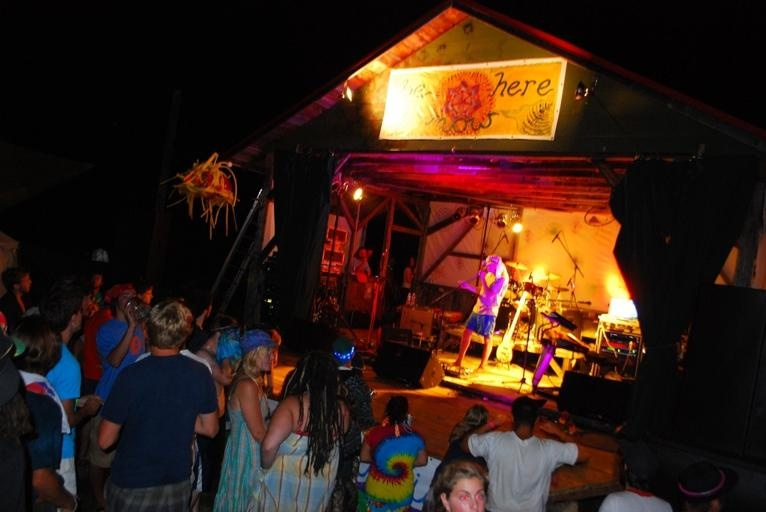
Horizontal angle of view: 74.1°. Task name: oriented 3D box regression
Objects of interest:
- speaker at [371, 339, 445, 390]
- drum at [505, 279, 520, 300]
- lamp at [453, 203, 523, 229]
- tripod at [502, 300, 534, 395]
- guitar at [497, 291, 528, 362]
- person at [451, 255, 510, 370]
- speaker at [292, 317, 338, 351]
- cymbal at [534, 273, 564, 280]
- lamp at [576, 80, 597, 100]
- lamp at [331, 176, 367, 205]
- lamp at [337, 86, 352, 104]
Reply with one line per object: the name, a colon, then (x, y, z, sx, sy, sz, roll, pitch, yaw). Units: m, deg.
speaker: (0.404, 1.891, 8.569, 1.194, 0.680, 0.421, 6, -9, 28)
drum: (2.973, 0.817, 11.623, 0.302, 0.605, 0.299, 5, -16, 1)
lamp: (2.686, -1.033, 12.966, 1.694, 0.608, 0.639, 8, -9, 17)
tripod: (2.852, 1.766, 10.491, 0.552, 2.099, 0.707, 3, 6, 13)
guitar: (2.537, 1.689, 10.156, 0.557, 1.801, 0.720, 2, 6, 13)
person: (1.775, 0.896, 9.421, 0.749, 2.356, 0.988, -1, 8, -23)
speaker: (-0.981, 1.196, 7.295, 0.741, 0.441, 0.525, 8, 8, 33)
cymbal: (3.833, 0.531, 11.855, 0.310, 0.085, 0.334, 0, 9, 1)
lamp: (2.530, -2.058, 6.278, 0.232, 0.202, 0.080, 7, -8, 21)
lamp: (-0.769, -1.341, 10.245, 0.524, 0.374, 0.725, 4, 5, -40)
lamp: (-0.575, -2.518, 7.873, 0.186, 0.124, 0.219, 9, -10, 8)
